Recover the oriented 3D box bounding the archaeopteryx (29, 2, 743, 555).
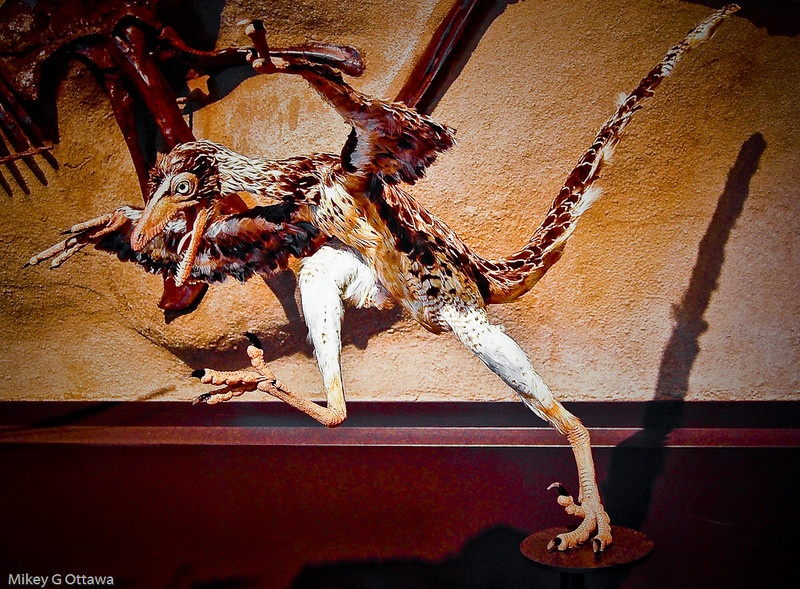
[{"bbox_3d":[-0.214,0.017,3.977,1.921,1.470,1.170,0,-6,-16],"label":"archaeopteryx"}]
